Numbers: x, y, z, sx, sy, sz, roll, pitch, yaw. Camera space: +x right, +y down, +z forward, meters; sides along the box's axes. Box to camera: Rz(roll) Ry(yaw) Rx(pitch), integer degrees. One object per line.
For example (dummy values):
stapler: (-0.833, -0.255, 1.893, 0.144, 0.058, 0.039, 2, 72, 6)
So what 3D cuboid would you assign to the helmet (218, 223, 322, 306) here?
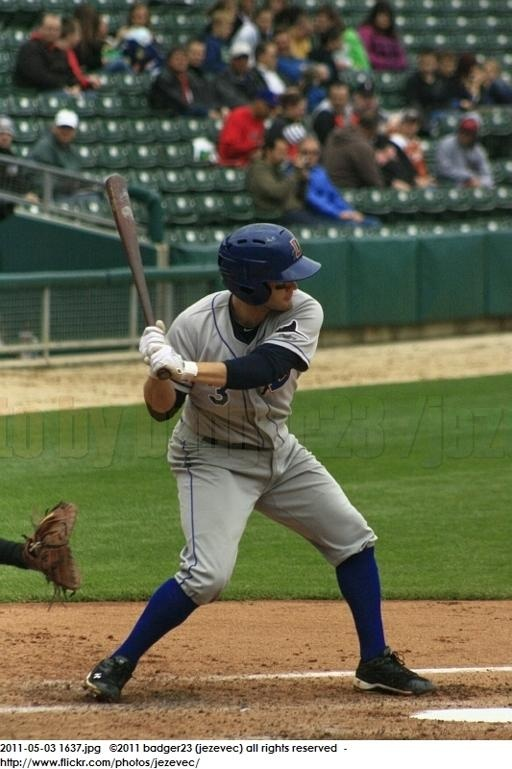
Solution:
helmet: (0.052, -0.338, 3.318, 0.278, 0.193, 0.197, 4, 22, 10)

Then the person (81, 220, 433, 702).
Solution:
person: (-0.007, 0.213, 3.357, 0.919, 1.284, 0.417, 0, 13, -8)

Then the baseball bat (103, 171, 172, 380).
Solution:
baseball bat: (-0.341, -0.326, 3.473, 0.121, 0.619, 0.046, -9, -13, -26)

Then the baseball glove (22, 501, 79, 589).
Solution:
baseball glove: (-0.620, 0.491, 3.670, 0.162, 0.281, 0.175, -1, 13, -10)

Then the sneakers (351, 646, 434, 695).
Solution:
sneakers: (0.376, 0.815, 3.474, 0.273, 0.130, 0.092, 5, -7, 4)

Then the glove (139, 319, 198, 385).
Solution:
glove: (-0.242, -0.082, 3.203, 0.111, 0.134, 0.212, -4, 13, -23)
